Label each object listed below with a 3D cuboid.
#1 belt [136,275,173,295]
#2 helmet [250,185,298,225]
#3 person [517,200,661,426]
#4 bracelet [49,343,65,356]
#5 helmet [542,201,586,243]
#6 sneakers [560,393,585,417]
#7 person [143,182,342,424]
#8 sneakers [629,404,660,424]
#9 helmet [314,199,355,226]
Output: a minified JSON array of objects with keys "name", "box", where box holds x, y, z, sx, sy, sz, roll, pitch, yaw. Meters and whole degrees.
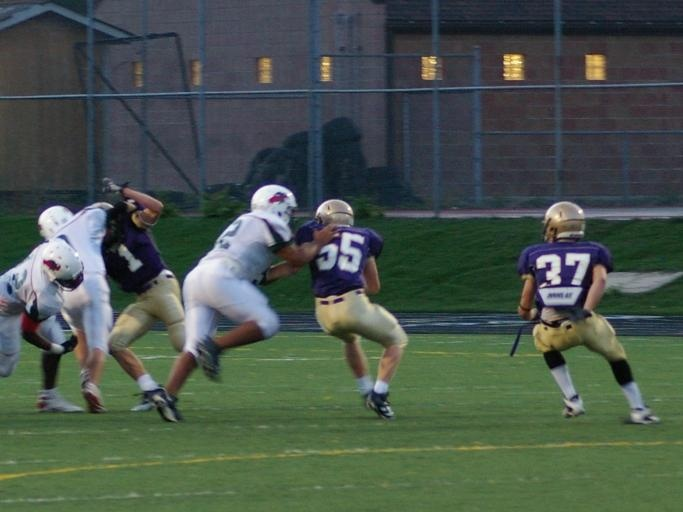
[{"name":"belt","box":[-2.129,0.302,16.651,0.322,0.071,0.279,-21,1,-3]},{"name":"helmet","box":[-0.796,-0.622,16.400,0.547,0.328,0.375,-1,-1,-31]},{"name":"person","box":[2.613,0.604,16.020,1.399,2.379,0.539,2,5,28]},{"name":"bracelet","box":[-3.172,1.031,16.225,0.177,0.077,0.157,13,-9,-13]},{"name":"helmet","box":[2.520,-0.380,16.362,0.519,0.370,0.555,0,-1,-27]},{"name":"sneakers","box":[2.444,1.653,15.993,0.284,0.216,0.300,-3,-3,-6]},{"name":"person","box":[-1.152,0.644,15.983,1.920,2.277,0.587,-1,5,-10]},{"name":"sneakers","box":[3.262,1.721,15.765,0.333,0.180,0.171,0,4,7]},{"name":"helmet","box":[-0.052,-0.498,16.652,0.358,0.253,0.393,2,18,-34]}]
